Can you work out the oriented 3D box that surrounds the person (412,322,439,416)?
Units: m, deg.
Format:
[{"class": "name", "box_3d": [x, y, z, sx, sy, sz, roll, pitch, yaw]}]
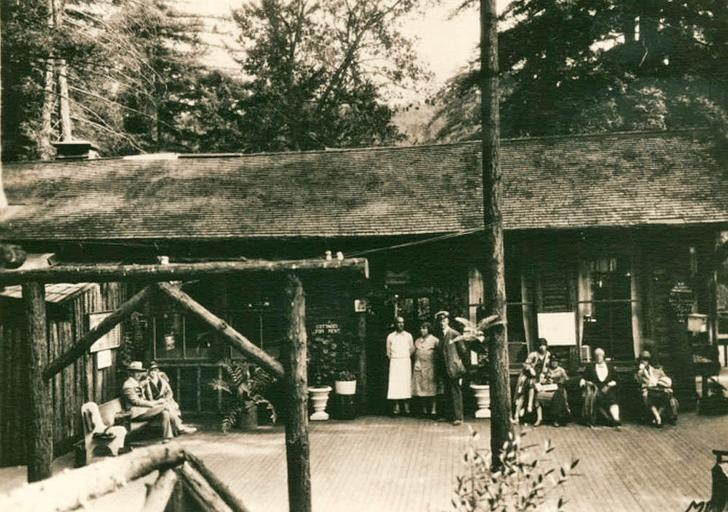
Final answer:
[{"class": "person", "box_3d": [1.892, 3.364, 26.649, 0.749, 2.722, 0.853, 2, -6, -32]}]

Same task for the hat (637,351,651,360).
[{"class": "hat", "box_3d": [8.122, 2.854, 26.092, 0.260, 0.314, 0.293, 7, -46, 17]}]

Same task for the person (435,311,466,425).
[{"class": "person", "box_3d": [2.586, 3.233, 26.351, 0.803, 3.269, 1.204, -2, -5, 10]}]

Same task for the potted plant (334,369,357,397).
[{"class": "potted plant", "box_3d": [-0.525, 3.804, 26.931, 0.744, 0.657, 0.675, 0, -6, -4]}]

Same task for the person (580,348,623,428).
[{"class": "person", "box_3d": [6.857, 3.757, 25.951, 1.371, 2.190, 0.836, 2, -6, -27]}]

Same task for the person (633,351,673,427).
[{"class": "person", "box_3d": [8.326, 3.796, 25.876, 1.086, 2.006, 0.897, -13, -13, 23]}]

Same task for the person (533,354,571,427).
[{"class": "person", "box_3d": [5.414, 3.901, 25.922, 0.928, 1.909, 0.421, -1, -5, 4]}]

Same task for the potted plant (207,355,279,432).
[{"class": "potted plant", "box_3d": [-3.480, 3.867, 26.519, 2.482, 0.991, 2.389, 24, -1, -32]}]

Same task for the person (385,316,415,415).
[{"class": "person", "box_3d": [1.127, 3.286, 26.986, 0.814, 2.890, 0.708, -1, -5, 0]}]

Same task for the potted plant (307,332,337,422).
[{"class": "potted plant", "box_3d": [-1.307, 3.690, 26.969, 1.272, 2.269, 0.845, 1, 1, 2]}]

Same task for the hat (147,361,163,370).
[{"class": "hat", "box_3d": [-6.144, 3.221, 26.634, 0.403, 0.192, 0.537, -1, 0, -8]}]
